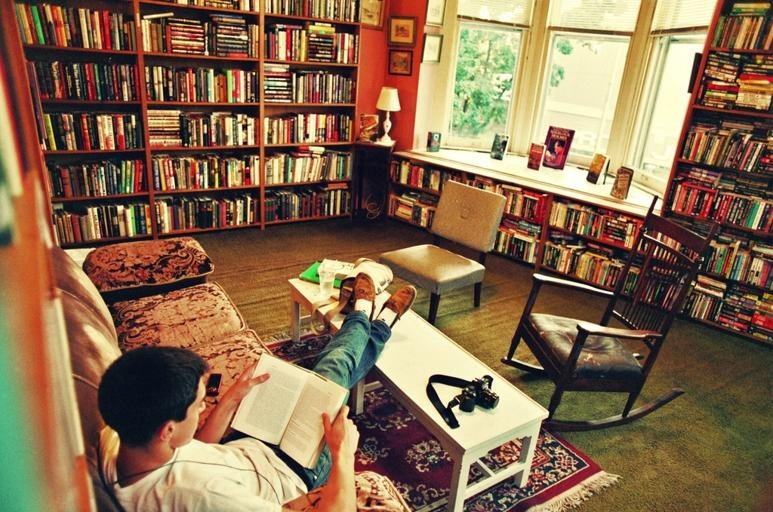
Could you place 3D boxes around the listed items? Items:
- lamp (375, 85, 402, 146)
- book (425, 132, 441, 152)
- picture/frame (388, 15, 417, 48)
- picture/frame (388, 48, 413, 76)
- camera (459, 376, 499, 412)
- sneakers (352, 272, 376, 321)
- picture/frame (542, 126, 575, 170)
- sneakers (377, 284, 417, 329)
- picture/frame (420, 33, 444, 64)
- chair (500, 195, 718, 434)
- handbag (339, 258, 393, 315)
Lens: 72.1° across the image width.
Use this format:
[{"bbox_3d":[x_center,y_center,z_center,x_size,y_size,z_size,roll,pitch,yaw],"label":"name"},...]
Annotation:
[{"bbox_3d":[0.021,-1.421,5.356,0.244,0.534,0.568,2,23,0],"label":"lamp"},{"bbox_3d":[0.483,-1.168,5.458,0.122,0.186,0.150,1,23,-2],"label":"book"},{"bbox_3d":[0.159,-2.200,5.187,0.336,0.302,0.023,10,23,26],"label":"picture/frame"},{"bbox_3d":[0.148,-1.946,5.307,0.299,0.260,0.024,12,31,24],"label":"picture/frame"},{"bbox_3d":[0.358,0.553,2.092,0.108,0.076,0.155,27,32,35],"label":"camera"},{"bbox_3d":[-0.112,0.182,2.466,0.085,0.077,0.211,-4,62,5],"label":"sneakers"},{"bbox_3d":[1.640,-1.024,5.070,0.050,0.452,0.350,-8,28,-45],"label":"picture/frame"},{"bbox_3d":[0.060,0.205,2.561,0.103,0.096,0.286,36,70,8],"label":"sneakers"},{"bbox_3d":[0.434,-2.052,5.223,0.039,0.231,0.281,24,40,36],"label":"picture/frame"},{"bbox_3d":[1.361,0.338,3.130,1.201,1.388,0.785,0,31,-19],"label":"chair"},{"bbox_3d":[-0.114,0.138,2.733,0.189,0.104,0.316,27,33,11],"label":"handbag"}]
